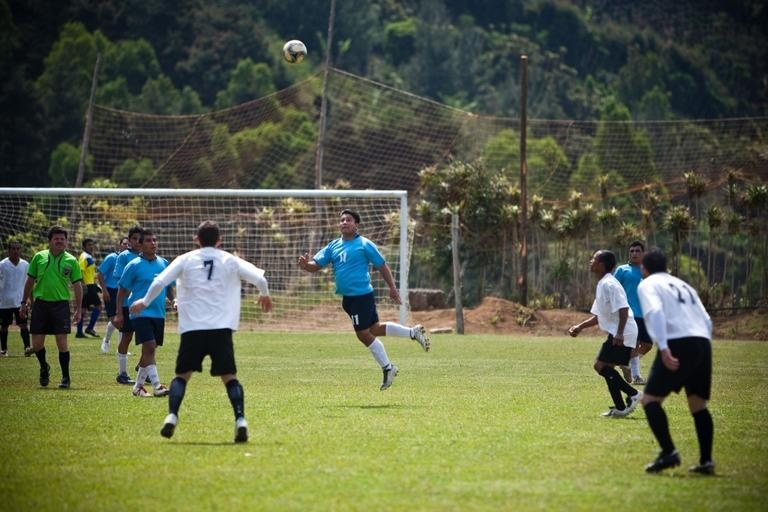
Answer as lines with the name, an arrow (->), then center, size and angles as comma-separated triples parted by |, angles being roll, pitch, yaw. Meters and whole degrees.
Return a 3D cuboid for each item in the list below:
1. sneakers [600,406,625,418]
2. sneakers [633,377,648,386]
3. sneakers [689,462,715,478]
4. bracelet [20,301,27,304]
sneakers -> 6.547, 4.457, 31.009 | 0.637, 0.280, 0.279 | 1, -3, 11
sneakers -> 7.876, 3.866, 33.525 | 0.520, 0.242, 0.180 | 0, 1, -1
sneakers -> 8.531, 5.719, 29.071 | 0.652, 0.285, 0.297 | 2, -1, 32
bracelet -> -11.560, 1.465, 34.864 | 0.169, 0.062, 0.171 | -2, -1, -9
